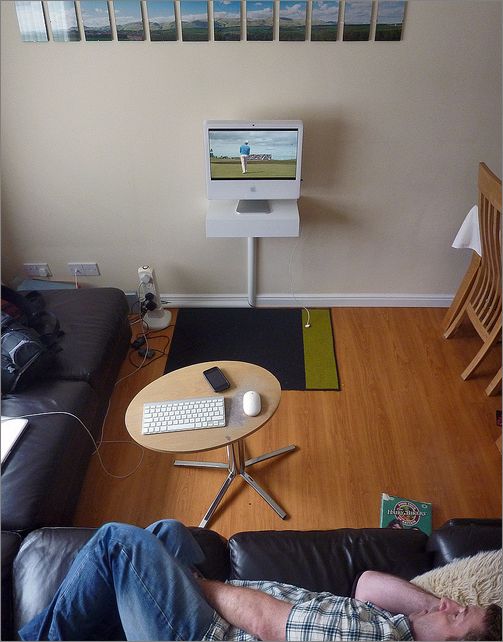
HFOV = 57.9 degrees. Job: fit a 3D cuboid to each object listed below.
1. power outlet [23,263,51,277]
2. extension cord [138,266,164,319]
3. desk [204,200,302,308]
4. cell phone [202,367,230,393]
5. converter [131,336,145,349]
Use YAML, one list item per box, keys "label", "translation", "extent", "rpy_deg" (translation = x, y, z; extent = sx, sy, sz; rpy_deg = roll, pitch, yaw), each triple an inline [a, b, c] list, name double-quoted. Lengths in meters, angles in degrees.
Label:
- label: "power outlet"
  translation: [-1.350, -0.325, 2.871]
  extent: [0.112, 0.079, 0.015]
  rpy_deg: [3, 45, -1]
- label: "extension cord"
  translation: [-0.604, -0.163, 2.807]
  extent: [0.138, 0.372, 0.126]
  rpy_deg: [-5, 35, -10]
- label: "desk"
  translation: [0.013, -0.408, 2.656]
  extent: [0.539, 0.672, 0.361]
  rpy_deg: [-2, 40, 1]
- label: "cell phone"
  translation: [-0.140, 0.239, 1.814]
  extent: [0.073, 0.017, 0.132]
  rpy_deg: [-16, 40, -16]
- label: "converter"
  translation: [-0.672, 0.131, 2.739]
  extent: [0.049, 0.032, 0.091]
  rpy_deg: [-1, 38, 24]
